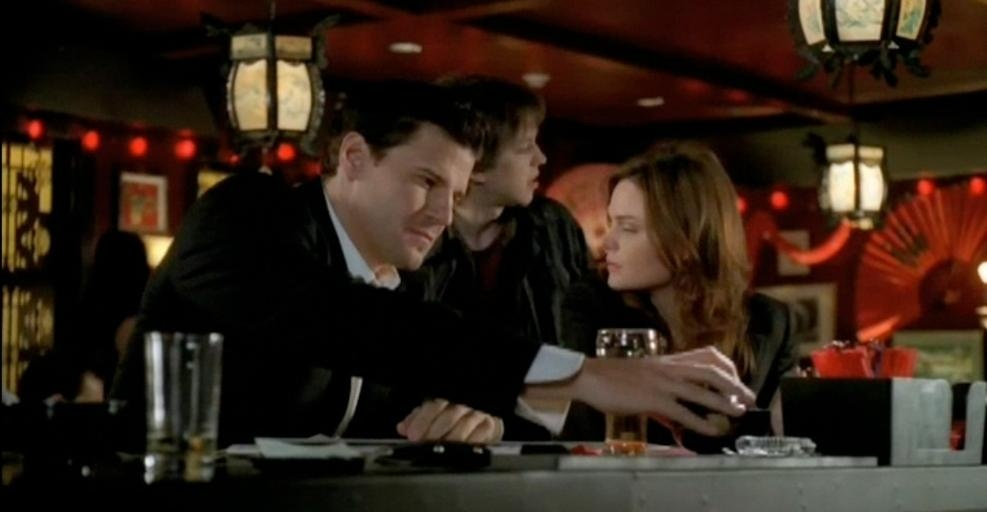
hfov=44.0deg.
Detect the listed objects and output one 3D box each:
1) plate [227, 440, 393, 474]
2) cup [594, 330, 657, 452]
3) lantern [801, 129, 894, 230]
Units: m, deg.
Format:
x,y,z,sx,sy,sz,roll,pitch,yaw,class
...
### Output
x,y,z,sx,sy,sz,roll,pitch,yaw,class
-0.716,0.763,4.680,0.638,0.126,0.299,1,-7,-4,plate
0.558,0.551,5.033,0.269,0.508,0.380,0,-8,1,cup
2.166,-0.474,7.422,0.617,0.522,0.219,-3,-2,10,lantern
